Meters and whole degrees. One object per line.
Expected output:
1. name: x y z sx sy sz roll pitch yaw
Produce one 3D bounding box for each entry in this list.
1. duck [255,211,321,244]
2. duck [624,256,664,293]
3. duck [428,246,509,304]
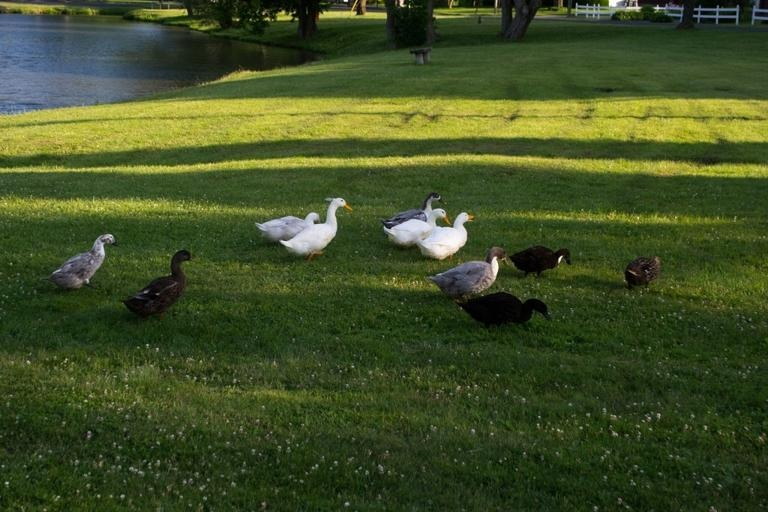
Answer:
1. duck: -3.915 -1.156 44.275 2.400 1.271 1.109 -1 9 -7
2. duck: 9.937 0.624 42.276 1.571 1.248 0.824 0 17 -7
3. duck: 3.156 0.740 41.463 2.641 1.919 0.884 -2 17 -14
